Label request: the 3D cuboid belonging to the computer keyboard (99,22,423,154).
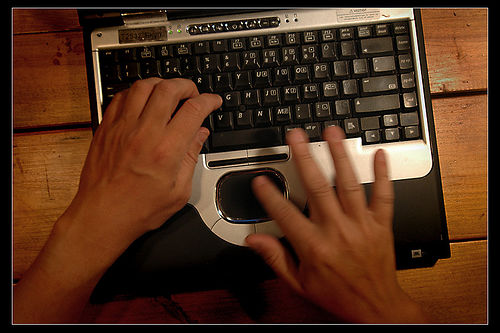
[{"bbox_3d":[0.058,-0.205,1.070,0.881,0.093,0.337,-7,89,0],"label":"computer keyboard"}]
